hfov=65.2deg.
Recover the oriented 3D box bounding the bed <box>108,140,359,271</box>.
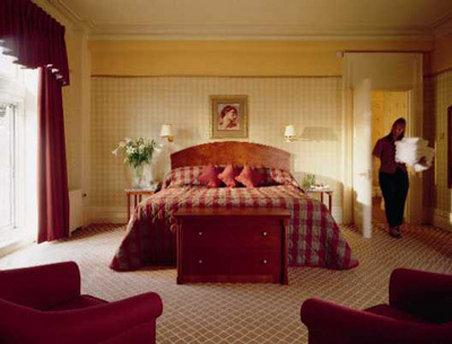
[{"bbox_3d":[0.083,0.471,5.619,2.618,1.276,2.133,0,3,2],"label":"bed"}]

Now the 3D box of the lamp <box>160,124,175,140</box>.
[{"bbox_3d":[-1.105,-0.728,6.579,0.257,0.301,0.335,0,5,-10],"label":"lamp"}]

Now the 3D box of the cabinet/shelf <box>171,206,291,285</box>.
[{"bbox_3d":[0.073,0.853,4.505,1.372,0.844,0.804,1,3,-3],"label":"cabinet/shelf"}]

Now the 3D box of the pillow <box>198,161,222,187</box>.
[{"bbox_3d":[-0.292,0.051,6.082,0.486,0.129,0.497,8,42,-10],"label":"pillow"}]

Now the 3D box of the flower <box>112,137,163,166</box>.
[{"bbox_3d":[-1.706,-0.410,6.646,0.643,0.451,0.651,1,2,31],"label":"flower"}]

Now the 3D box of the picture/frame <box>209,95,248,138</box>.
[{"bbox_3d":[0.048,-1.074,6.701,0.760,0.806,0.038,-1,-2,-2],"label":"picture/frame"}]

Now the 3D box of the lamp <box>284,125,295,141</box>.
[{"bbox_3d":[1.193,-0.719,6.602,0.204,0.314,0.281,2,5,9],"label":"lamp"}]

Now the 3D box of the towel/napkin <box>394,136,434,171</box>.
[{"bbox_3d":[2.987,-0.308,5.612,0.537,0.553,0.235,-3,-12,16],"label":"towel/napkin"}]
